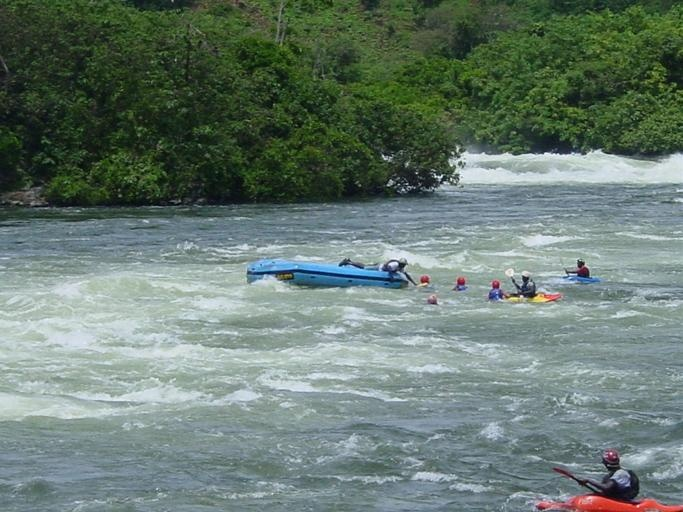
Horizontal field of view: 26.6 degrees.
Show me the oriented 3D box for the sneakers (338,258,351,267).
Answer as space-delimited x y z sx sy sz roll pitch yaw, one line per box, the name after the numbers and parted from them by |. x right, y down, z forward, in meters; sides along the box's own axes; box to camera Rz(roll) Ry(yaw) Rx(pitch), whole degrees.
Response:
0.110 0.240 62.161 0.251 0.251 0.693 20 3 -16 | sneakers

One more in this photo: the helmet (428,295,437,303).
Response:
3.744 1.801 59.780 0.420 0.274 0.331 -7 21 18 | helmet

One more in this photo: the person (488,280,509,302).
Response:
6.417 1.409 60.365 0.804 0.685 0.955 -8 17 5 | person

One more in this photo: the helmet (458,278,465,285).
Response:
5.079 1.068 61.703 0.343 0.266 0.315 1 -12 7 | helmet

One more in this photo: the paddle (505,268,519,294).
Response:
7.259 1.014 61.468 0.410 1.326 0.182 -3 47 26 | paddle
